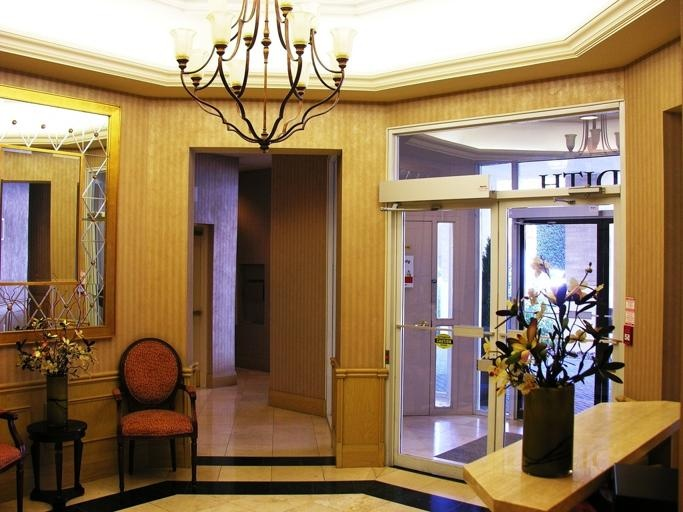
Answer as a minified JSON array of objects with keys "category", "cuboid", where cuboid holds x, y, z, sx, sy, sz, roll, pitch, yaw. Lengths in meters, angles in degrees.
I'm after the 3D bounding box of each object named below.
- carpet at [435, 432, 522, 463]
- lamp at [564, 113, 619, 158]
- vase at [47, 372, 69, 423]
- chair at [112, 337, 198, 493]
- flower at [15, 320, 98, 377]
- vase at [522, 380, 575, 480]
[{"category":"carpet","cuboid":[1.277,1.795,5.562,0.786,0.363,0.089,2,2,27]},{"category":"lamp","cuboid":[2.190,-1.038,5.109,0.355,0.213,0.349,1,-4,4]},{"category":"vase","cuboid":[-2.449,1.226,5.079,0.152,0.426,0.099,0,2,-22]},{"category":"chair","cuboid":[-1.764,1.460,5.575,0.720,1.280,0.731,0,2,-20]},{"category":"flower","cuboid":[-2.527,0.806,5.322,0.512,0.412,0.590,1,3,16]},{"category":"vase","cuboid":[1.079,0.900,3.161,0.275,0.440,0.279,-2,0,-37]}]
